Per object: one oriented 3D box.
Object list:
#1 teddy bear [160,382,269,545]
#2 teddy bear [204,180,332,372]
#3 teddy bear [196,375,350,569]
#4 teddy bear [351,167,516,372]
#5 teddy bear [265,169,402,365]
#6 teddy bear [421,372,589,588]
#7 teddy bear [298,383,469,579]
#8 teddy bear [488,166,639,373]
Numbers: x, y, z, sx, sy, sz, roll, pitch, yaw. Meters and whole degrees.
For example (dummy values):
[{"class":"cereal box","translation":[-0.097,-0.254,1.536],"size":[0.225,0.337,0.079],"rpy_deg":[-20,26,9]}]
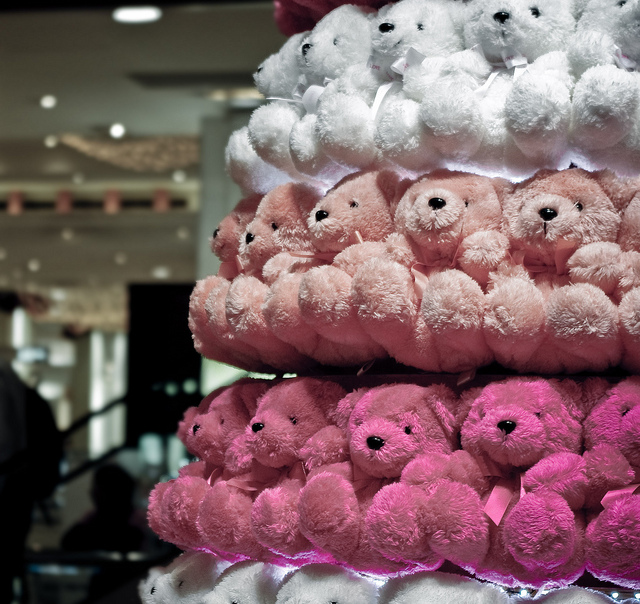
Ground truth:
[{"class":"teddy bear","translation":[-0.130,0.221,1.376],"size":[0.207,0.243,0.211],"rpy_deg":[-4,-5,-14]},{"class":"teddy bear","translation":[-0.070,-0.027,1.359],"size":[0.212,0.275,0.185],"rpy_deg":[-12,13,0]},{"class":"teddy bear","translation":[-0.051,0.226,1.298],"size":[0.250,0.241,0.182],"rpy_deg":[-8,-13,10]},{"class":"teddy bear","translation":[0.159,-0.069,1.257],"size":[0.211,0.236,0.193],"rpy_deg":[4,-8,42]},{"class":"teddy bear","translation":[0.022,-0.065,1.330],"size":[0.213,0.249,0.203],"rpy_deg":[-6,-13,44]},{"class":"teddy bear","translation":[0.257,0.213,1.174],"size":[0.204,0.251,0.228],"rpy_deg":[15,-16,-42]},{"class":"teddy bear","translation":[0.094,0.217,1.221],"size":[0.231,0.225,0.185],"rpy_deg":[-10,-15,40]},{"class":"teddy bear","translation":[0.318,-0.037,1.200],"size":[0.181,0.264,0.186],"rpy_deg":[-5,15,26]}]
